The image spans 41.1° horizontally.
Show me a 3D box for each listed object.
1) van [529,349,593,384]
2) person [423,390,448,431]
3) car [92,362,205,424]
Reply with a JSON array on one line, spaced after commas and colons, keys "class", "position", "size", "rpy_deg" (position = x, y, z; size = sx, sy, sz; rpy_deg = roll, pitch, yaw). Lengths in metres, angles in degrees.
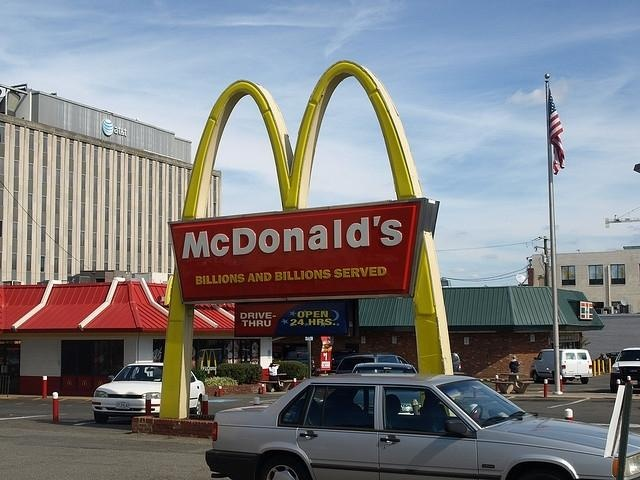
[{"class": "van", "position": [12.729, 6.783, 46.716], "size": [2.716, 1.782, 4.154], "rpy_deg": [3, -3, -32]}, {"class": "person", "position": [1.851, 2.771, 13.779], "size": [0.424, 0.652, 0.166], "rpy_deg": [-11, -14, 37]}, {"class": "car", "position": [-5.469, 4.927, 27.465], "size": [2.094, 1.194, 3.328], "rpy_deg": [-3, -11, 14]}]
